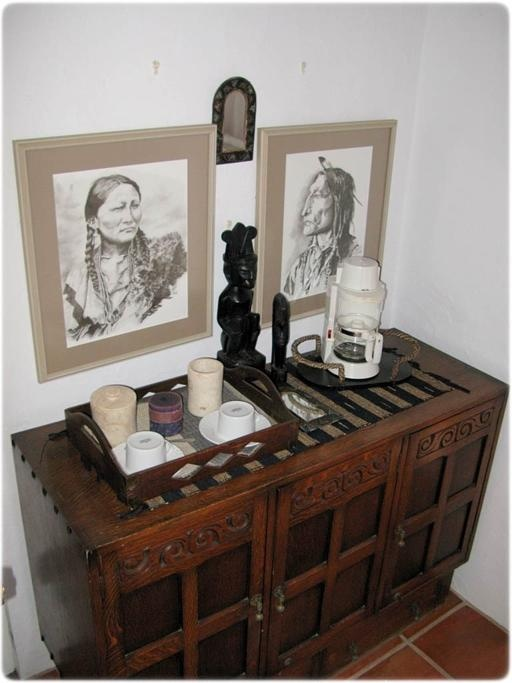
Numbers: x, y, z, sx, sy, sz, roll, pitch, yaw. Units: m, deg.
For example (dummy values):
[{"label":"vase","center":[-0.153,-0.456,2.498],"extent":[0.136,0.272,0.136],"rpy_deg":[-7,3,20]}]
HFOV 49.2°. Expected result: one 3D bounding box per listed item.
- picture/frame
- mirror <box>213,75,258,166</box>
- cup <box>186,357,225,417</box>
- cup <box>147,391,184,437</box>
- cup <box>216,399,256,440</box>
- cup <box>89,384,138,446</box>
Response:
[{"label":"picture/frame","center":[-0.144,-0.236,1.472],"extent":[0.823,0.476,0.031],"rpy_deg":[-17,34,-33]},{"label":"mirror","center":[-0.056,-0.573,1.425],"extent":[0.169,0.262,0.026],"rpy_deg":[-22,42,-31]},{"label":"cup","center":[-0.132,0.123,1.445],"extent":[0.088,0.125,0.087],"rpy_deg":[9,30,-5]},{"label":"cup","center":[-0.215,0.177,1.393],"extent":[0.091,0.090,0.096],"rpy_deg":[2,19,-1]},{"label":"cup","center":[-0.044,0.187,1.318],"extent":[0.069,0.064,0.091],"rpy_deg":[-2,19,-8]},{"label":"cup","center":[-0.331,0.168,1.335],"extent":[0.106,0.116,0.140],"rpy_deg":[6,21,10]}]
